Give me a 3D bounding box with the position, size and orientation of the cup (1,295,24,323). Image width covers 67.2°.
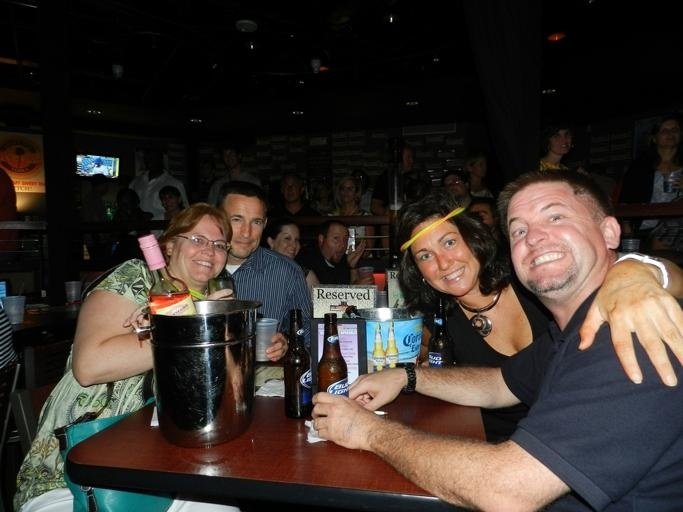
[{"bbox_3d":[-2.035,0.337,3.284,0.176,0.170,0.160,2,-5,-5],"label":"cup"}]

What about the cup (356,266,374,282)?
[{"bbox_3d":[0.151,0.121,3.432,0.110,0.099,0.102,1,-2,0],"label":"cup"}]

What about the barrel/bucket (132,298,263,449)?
[{"bbox_3d":[-0.402,0.382,1.741,0.430,0.398,0.423,0,-1,0],"label":"barrel/bucket"}]
